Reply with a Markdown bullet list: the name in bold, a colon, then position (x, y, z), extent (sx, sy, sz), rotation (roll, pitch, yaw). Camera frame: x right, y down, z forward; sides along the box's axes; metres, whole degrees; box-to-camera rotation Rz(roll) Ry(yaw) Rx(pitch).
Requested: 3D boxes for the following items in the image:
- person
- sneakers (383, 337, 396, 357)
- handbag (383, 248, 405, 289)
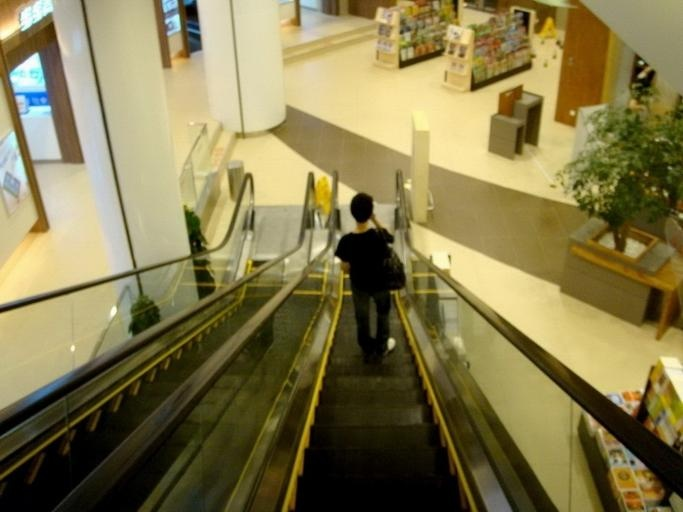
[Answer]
- **person**: position (0.181, 0.212, 4.246), extent (0.436, 1.511, 0.231), rotation (-1, 25, 0)
- **sneakers**: position (0.418, 0.821, 4.566), extent (0.109, 0.148, 0.040), rotation (2, 1, -11)
- **handbag**: position (0.434, 0.117, 4.317), extent (0.149, 0.325, 0.333), rotation (-4, 36, 10)
